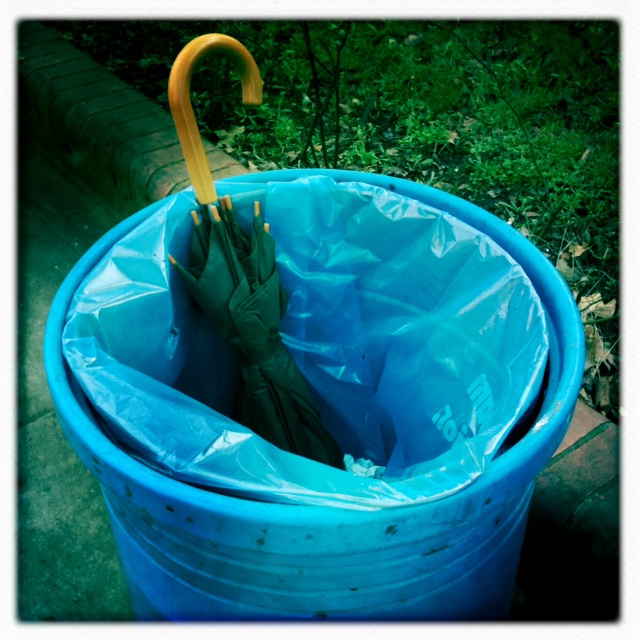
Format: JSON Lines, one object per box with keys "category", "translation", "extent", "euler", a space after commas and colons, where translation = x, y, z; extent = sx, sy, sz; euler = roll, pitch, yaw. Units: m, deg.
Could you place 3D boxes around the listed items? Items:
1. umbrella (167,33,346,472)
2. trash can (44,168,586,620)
{"category": "umbrella", "translation": [-0.108, -0.041, 1.185], "extent": [0.183, 0.848, 0.249], "euler": [5, 39, 20]}
{"category": "trash can", "translation": [0.001, 0.136, 1.090], "extent": [0.609, 0.568, 0.594], "euler": [-30, 44, -34]}
